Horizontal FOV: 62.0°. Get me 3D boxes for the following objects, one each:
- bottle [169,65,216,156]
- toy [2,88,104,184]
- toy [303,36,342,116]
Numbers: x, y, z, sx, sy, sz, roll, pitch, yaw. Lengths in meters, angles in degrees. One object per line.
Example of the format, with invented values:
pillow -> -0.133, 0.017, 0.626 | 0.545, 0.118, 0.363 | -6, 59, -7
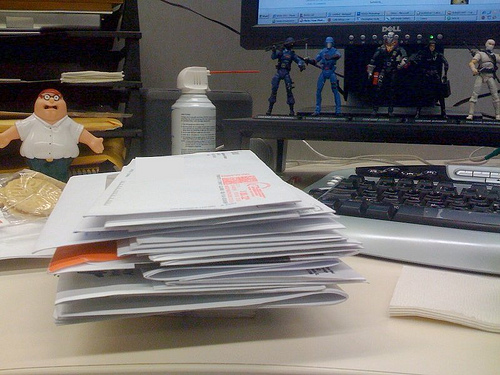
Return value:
bottle -> -0.095, -0.128, 0.691 | 0.071, 0.141, 0.066 | 1, 15, 0
toy -> -0.315, -0.091, 0.681 | 0.161, 0.123, 0.129 | -13, 27, -44
toy -> 0.112, -0.170, 0.644 | 0.061, 0.111, 0.058 | 9, 19, 30
